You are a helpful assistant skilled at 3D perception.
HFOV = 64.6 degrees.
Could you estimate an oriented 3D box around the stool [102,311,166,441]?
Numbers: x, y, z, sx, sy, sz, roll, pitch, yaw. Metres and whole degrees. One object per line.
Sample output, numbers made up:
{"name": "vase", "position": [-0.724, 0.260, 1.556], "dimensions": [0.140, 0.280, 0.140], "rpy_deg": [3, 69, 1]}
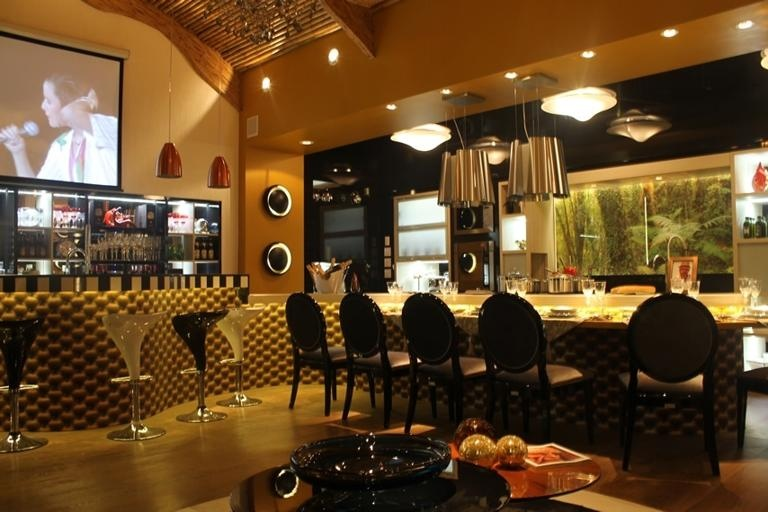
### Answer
{"name": "stool", "position": [-2.557, 1.191, 6.205], "dimensions": [0.555, 1.212, 0.605], "rpy_deg": [-2, 0, -26]}

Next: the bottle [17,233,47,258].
{"name": "bottle", "position": [-4.657, -0.135, 7.969], "dimensions": [0.304, 0.301, 0.152], "rpy_deg": [3, -7, -43]}

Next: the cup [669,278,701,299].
{"name": "cup", "position": [2.805, 0.284, 5.674], "dimensions": [0.301, 0.228, 0.256], "rpy_deg": [2, 0, -43]}

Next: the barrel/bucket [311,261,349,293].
{"name": "barrel/bucket", "position": [-0.736, 0.288, 7.966], "dimensions": [0.402, 0.347, 0.455], "rpy_deg": [-2, -6, 6]}

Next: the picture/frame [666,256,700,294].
{"name": "picture/frame", "position": [2.889, 0.185, 5.915], "dimensions": [0.043, 0.431, 0.304], "rpy_deg": [34, -39, -27]}

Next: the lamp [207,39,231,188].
{"name": "lamp", "position": [-2.389, -2.099, 8.911], "dimensions": [0.397, 2.165, 1.635], "rpy_deg": [-2, 0, -13]}

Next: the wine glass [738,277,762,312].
{"name": "wine glass", "position": [3.338, 0.350, 5.568], "dimensions": [0.138, 0.316, 0.340], "rpy_deg": [-2, 0, 28]}

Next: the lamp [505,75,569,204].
{"name": "lamp", "position": [1.519, -1.258, 6.308], "dimensions": [0.547, 1.188, 0.578], "rpy_deg": [0, 6, 19]}

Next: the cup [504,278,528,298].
{"name": "cup", "position": [1.354, 0.329, 6.304], "dimensions": [0.240, 0.192, 0.222], "rpy_deg": [1, -2, 0]}

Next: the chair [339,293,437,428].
{"name": "chair", "position": [-0.090, 1.074, 6.604], "dimensions": [0.762, 1.403, 0.879], "rpy_deg": [1, 2, 43]}

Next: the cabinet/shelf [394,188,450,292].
{"name": "cabinet/shelf", "position": [0.586, -0.080, 9.855], "dimensions": [0.913, 1.764, 0.545], "rpy_deg": [-2, -2, -5]}

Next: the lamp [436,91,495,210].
{"name": "lamp", "position": [0.856, -1.187, 6.721], "dimensions": [0.524, 1.182, 0.542], "rpy_deg": [0, 1, 24]}

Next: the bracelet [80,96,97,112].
{"name": "bracelet", "position": [-4.187, -2.177, 8.599], "dimensions": [0.182, 0.203, 0.151], "rpy_deg": [-28, 29, -27]}

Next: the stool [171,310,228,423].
{"name": "stool", "position": [-2.001, 1.185, 6.628], "dimensions": [0.561, 1.161, 0.422], "rpy_deg": [-2, 0, -13]}

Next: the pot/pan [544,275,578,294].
{"name": "pot/pan", "position": [2.091, 0.326, 7.078], "dimensions": [0.241, 0.153, 0.234], "rpy_deg": [1, -1, -43]}
